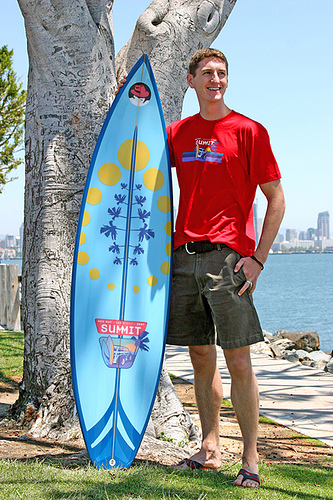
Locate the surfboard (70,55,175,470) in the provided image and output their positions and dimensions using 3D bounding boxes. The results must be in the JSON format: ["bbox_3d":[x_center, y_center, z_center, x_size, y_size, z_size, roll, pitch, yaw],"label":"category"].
[{"bbox_3d":[-0.211,-0.011,3.065,0.466,2.030,0.362,6,-3,-9],"label":"surfboard"}]

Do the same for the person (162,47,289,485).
[{"bbox_3d":[0.224,0.037,2.841,0.583,1.916,0.347,4,-3,14],"label":"person"}]

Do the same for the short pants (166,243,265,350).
[{"bbox_3d":[0.204,0.191,2.865,0.540,0.507,0.254,-7,-8,42],"label":"short pants"}]
